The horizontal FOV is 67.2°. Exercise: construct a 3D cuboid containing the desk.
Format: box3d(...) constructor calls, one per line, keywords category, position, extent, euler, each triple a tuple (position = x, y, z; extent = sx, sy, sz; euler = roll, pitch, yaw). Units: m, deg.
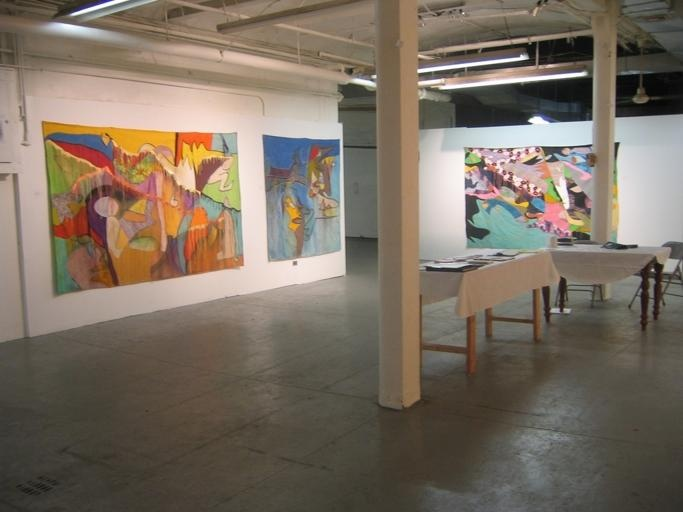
box3d(category="desk", position=(2.511, 0.537, 6.846), extent=(4.067, 1.238, 1.386), euler=(-6, 10, -30))
